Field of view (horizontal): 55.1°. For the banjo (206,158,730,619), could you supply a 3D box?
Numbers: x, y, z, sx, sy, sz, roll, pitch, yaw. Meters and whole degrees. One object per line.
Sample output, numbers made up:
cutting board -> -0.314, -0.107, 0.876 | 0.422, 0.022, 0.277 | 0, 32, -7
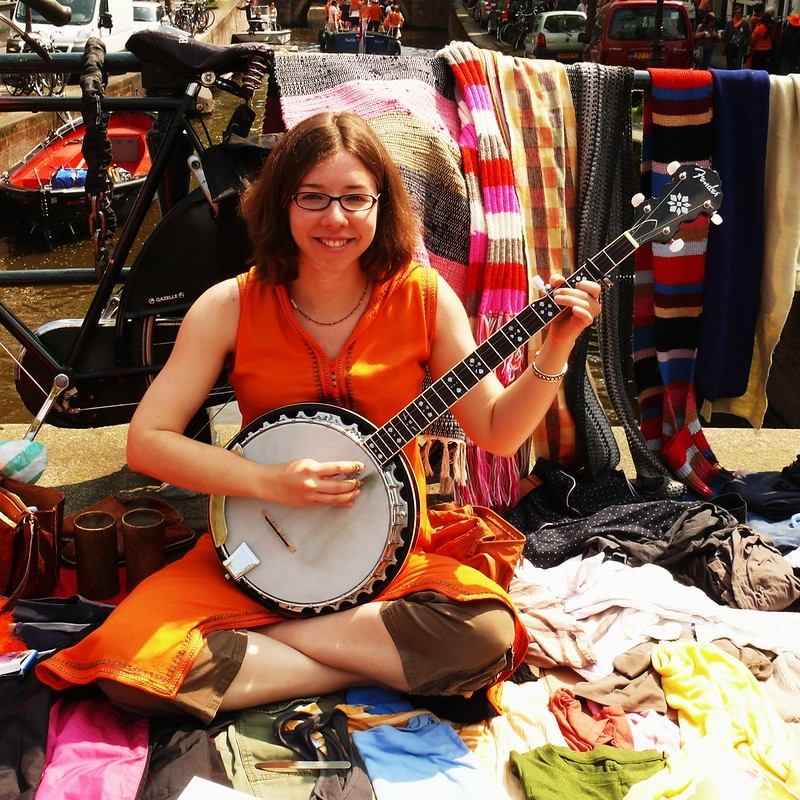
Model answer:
banjo -> 0.179, 0.028, 2.001 | 1.751, 0.606, 0.199 | -36, -5, -1

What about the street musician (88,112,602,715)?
street musician -> -0.175, -0.001, 1.859 | 1.339, 1.241, 0.830 | -6, 21, -5

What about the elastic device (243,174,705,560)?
elastic device -> 0.173, -0.106, 1.831 | 1.157, 0.884, 0.347 | -4, 20, -12
